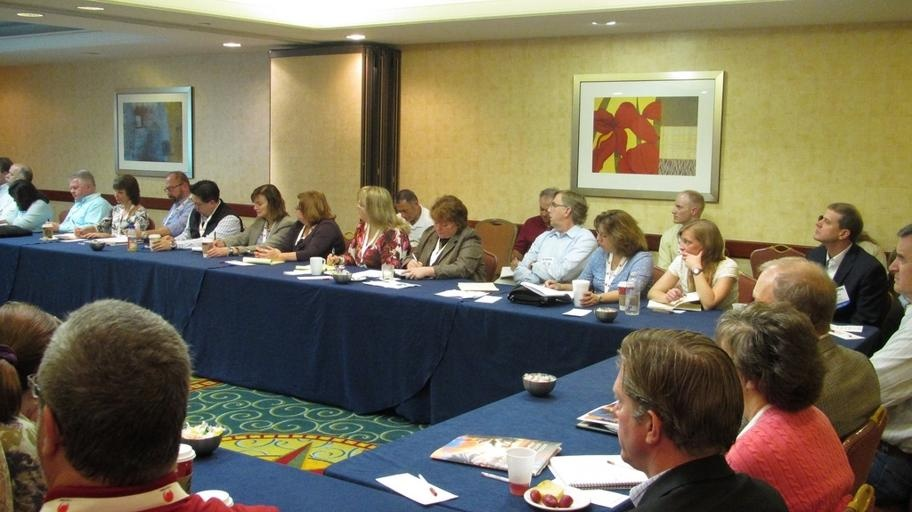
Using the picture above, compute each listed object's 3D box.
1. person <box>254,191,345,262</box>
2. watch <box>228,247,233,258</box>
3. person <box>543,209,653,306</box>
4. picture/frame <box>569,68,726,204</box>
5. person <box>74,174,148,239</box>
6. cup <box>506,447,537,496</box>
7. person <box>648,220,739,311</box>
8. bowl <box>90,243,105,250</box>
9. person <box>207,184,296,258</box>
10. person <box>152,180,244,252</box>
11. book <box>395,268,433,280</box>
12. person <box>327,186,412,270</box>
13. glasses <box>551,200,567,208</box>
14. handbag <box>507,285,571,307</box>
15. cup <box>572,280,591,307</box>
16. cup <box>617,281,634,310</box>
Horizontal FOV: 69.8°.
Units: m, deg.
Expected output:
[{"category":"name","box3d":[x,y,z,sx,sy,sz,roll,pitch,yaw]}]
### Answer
[{"category":"person","box3d":[-1.551,-0.268,6.562,0.972,0.665,0.771,-3,12,0]},{"category":"watch","box3d":[-2.168,-0.042,6.285,0.051,0.067,0.073,10,14,-22]},{"category":"person","box3d":[1.196,0.129,5.272,0.903,0.906,0.699,-8,8,-19]},{"category":"picture/frame","box3d":[2.123,-1.312,6.978,1.783,1.354,0.068,3,10,26]},{"category":"person","box3d":[-3.961,-0.550,7.746,0.969,0.877,0.892,-2,8,-39]},{"category":"cup","box3d":[0.288,0.867,2.676,0.087,0.175,0.174,9,11,42]},{"category":"person","box3d":[1.849,0.098,4.989,0.723,0.689,0.555,-1,10,-6]},{"category":"bowl","box3d":[-3.494,-0.092,6.319,0.086,0.042,0.082,0,-1,0]},{"category":"person","box3d":[-2.094,-0.311,6.731,0.726,0.719,1.045,12,16,38]},{"category":"person","box3d":[-2.782,-0.457,7.060,1.033,0.657,0.701,-2,8,-41]},{"category":"book","box3d":[-0.358,0.163,5.623,0.139,0.059,0.174,-3,-5,-36]},{"category":"person","box3d":[-0.766,-0.218,6.183,0.643,0.822,0.963,-4,11,-36]},{"category":"glasses","box3d":[0.902,-0.457,5.689,0.039,0.061,0.154,-6,10,-41]},{"category":"handbag","box3d":[0.620,0.291,4.807,0.465,0.135,0.181,1,7,2]},{"category":"cup","box3d":[0.909,0.270,4.833,0.136,0.191,0.148,1,8,0]},{"category":"cup","box3d":[1.238,0.287,4.682,0.108,0.201,0.121,-5,10,-38]}]
